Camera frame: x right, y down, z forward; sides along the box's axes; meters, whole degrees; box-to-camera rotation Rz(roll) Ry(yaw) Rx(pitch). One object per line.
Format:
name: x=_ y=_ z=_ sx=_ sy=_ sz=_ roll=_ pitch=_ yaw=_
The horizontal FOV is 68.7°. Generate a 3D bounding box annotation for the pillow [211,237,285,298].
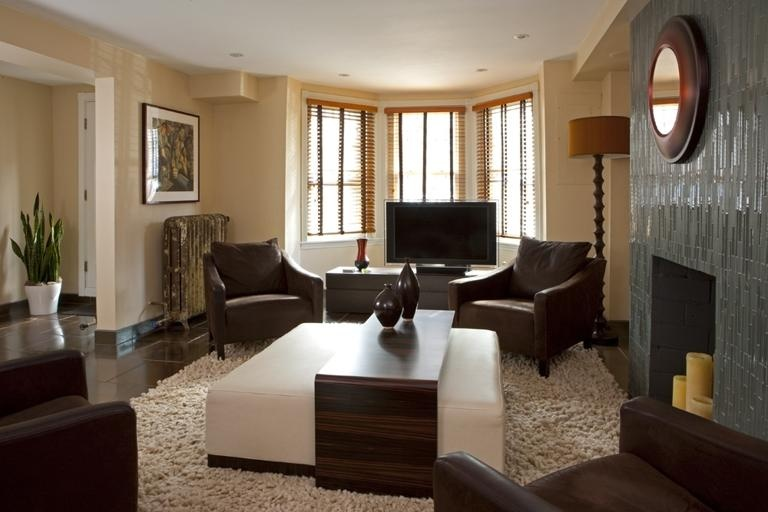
pillow: x=-1.291 y=0.132 z=5.318 sx=0.504 sy=0.434 sz=0.211 roll=-2 pitch=-3 yaw=-27

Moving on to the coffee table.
coffee table: x=-0.142 y=0.873 z=3.376 sx=1.062 sy=0.408 sz=1.197 roll=1 pitch=4 yaw=10

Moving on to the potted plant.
potted plant: x=-4.097 y=-0.028 z=6.650 sx=0.584 sy=1.363 sz=0.666 roll=-8 pitch=13 yaw=-30

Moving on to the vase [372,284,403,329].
vase: x=0.025 y=0.365 z=4.063 sx=0.258 sy=0.378 sz=0.267 roll=0 pitch=-4 yaw=-1
